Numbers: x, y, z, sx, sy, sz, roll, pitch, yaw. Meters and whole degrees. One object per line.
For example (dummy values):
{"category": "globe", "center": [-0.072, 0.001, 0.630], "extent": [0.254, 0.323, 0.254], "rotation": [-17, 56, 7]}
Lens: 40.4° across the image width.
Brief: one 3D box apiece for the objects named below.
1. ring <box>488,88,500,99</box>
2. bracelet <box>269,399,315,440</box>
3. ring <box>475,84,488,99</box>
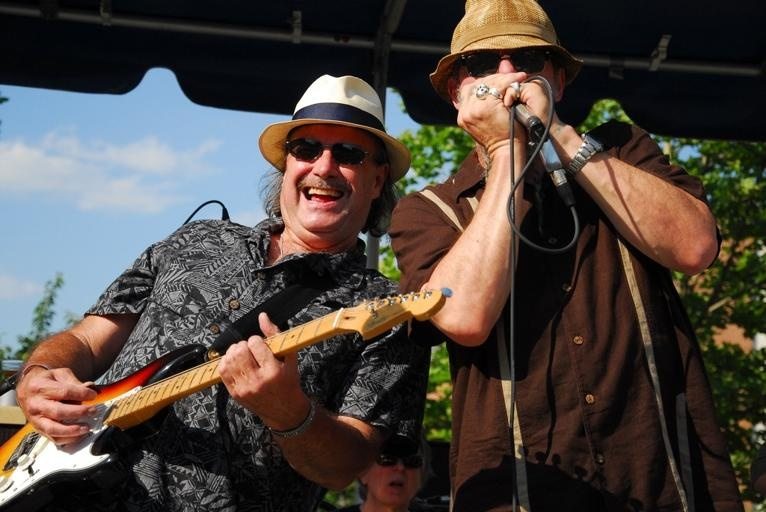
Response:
{"category": "ring", "center": [0.559, -0.815, 5.203], "extent": [0.051, 0.047, 0.020], "rotation": [10, 4, 35]}
{"category": "bracelet", "center": [-0.463, 0.848, 5.376], "extent": [0.217, 0.218, 0.104], "rotation": [10, -16, 12]}
{"category": "ring", "center": [0.494, -0.823, 5.210], "extent": [0.068, 0.065, 0.035], "rotation": [2, -12, 17]}
